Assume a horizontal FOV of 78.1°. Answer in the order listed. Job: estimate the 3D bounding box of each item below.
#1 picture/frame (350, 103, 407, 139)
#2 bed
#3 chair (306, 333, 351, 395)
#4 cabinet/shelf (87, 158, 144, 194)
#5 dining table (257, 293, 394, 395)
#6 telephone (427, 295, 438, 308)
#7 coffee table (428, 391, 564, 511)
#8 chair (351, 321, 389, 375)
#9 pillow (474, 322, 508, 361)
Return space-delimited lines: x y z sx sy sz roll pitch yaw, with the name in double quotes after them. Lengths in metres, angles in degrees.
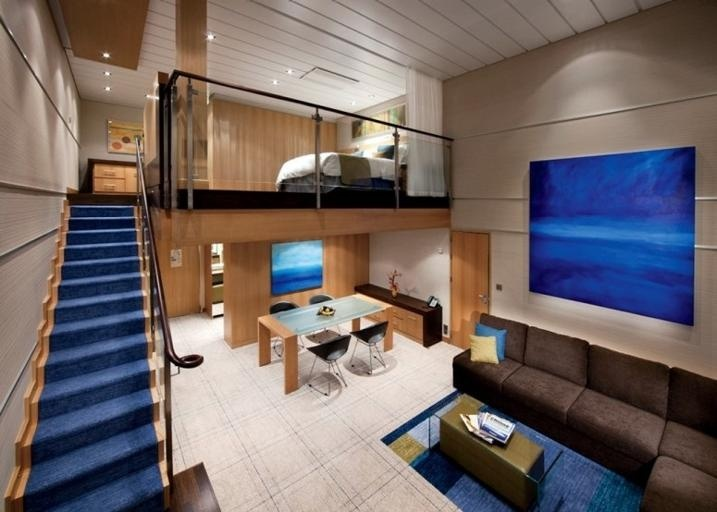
0.370 -2.685 8.926 0.204 0.559 1.607 -7 11 -35 "picture/frame"
-0.127 -1.330 6.631 2.087 0.696 0.899 -6 11 -30 "bed"
-0.479 1.764 7.044 0.628 0.864 0.587 -9 18 -40 "chair"
-4.688 -1.506 8.414 1.092 0.709 0.580 -2 3 -38 "cabinet/shelf"
-0.872 1.051 7.391 2.482 1.076 1.250 -13 21 -40 "dining table"
1.352 0.836 8.126 0.181 0.206 0.153 5 -3 -40 "telephone"
1.636 2.435 5.431 1.237 0.806 0.514 8 13 44 "coffee table"
0.204 1.603 7.525 0.621 0.833 0.588 -8 14 -33 "chair"
2.021 1.313 6.698 0.484 0.478 0.168 5 -23 44 "pillow"
